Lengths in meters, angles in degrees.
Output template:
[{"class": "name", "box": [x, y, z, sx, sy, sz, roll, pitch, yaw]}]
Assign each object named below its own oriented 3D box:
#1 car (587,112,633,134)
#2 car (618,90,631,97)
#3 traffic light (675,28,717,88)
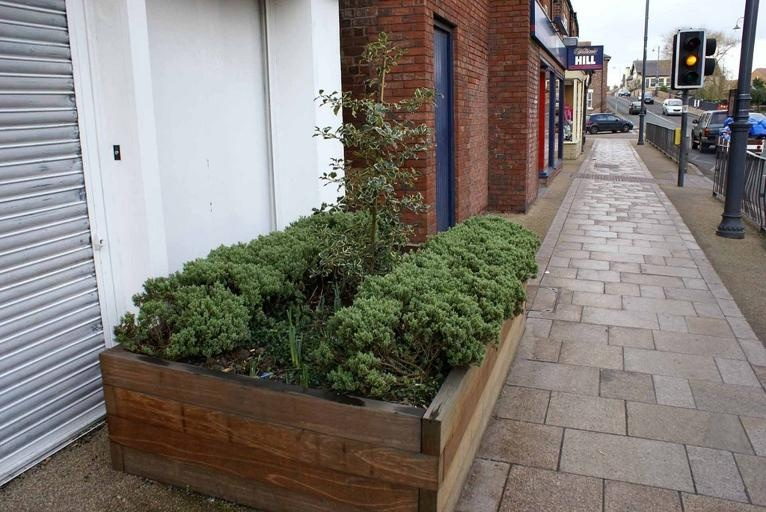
[{"class": "car", "box": [21.065, -12.378, 46.702, 3.773, 1.591, 2.072, 1, 20, 13]}, {"class": "car", "box": [48.220, -32.604, 100.432, 1.423, 1.007, 2.368, 0, 17, 18]}, {"class": "traffic light", "box": [6.870, -4.380, 11.167, 0.860, 1.215, 0.803, 8, 21, 27]}]
